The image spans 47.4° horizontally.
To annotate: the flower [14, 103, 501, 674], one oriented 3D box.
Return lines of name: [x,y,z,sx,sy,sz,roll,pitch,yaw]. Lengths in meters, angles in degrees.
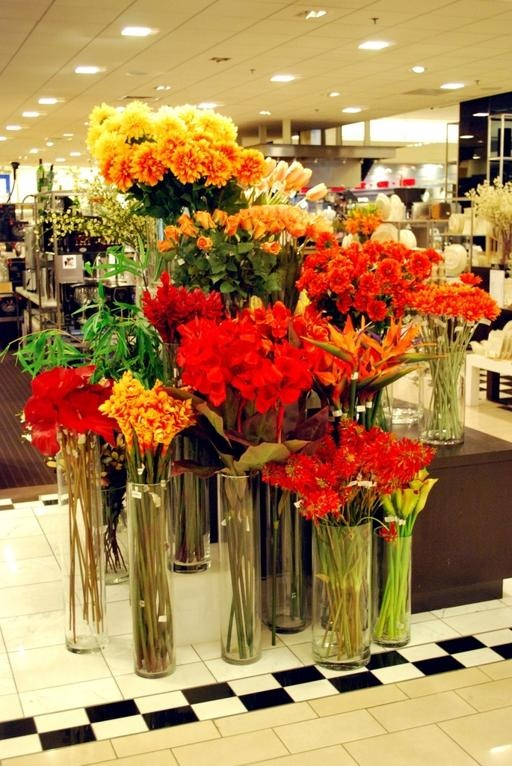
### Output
flower: [-0.083,0.001,1.482,1.008,1.494,0.727,-2,-3,19]

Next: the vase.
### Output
vase: [-0.253,0.494,1.422,0.106,0.513,0.213,0,-3,-8]
